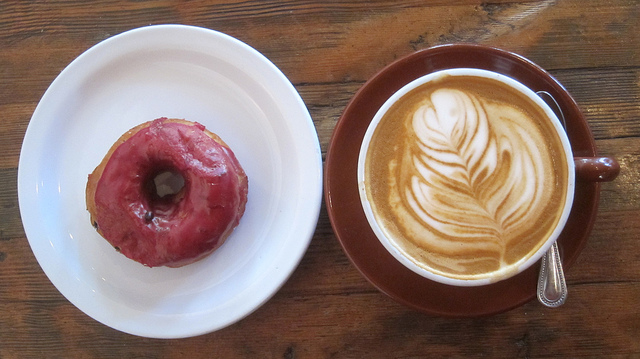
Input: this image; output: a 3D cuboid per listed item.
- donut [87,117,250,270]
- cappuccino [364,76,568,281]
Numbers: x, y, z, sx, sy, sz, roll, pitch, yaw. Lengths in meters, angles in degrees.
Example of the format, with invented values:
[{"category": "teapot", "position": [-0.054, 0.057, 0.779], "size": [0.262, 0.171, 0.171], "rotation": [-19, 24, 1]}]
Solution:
[{"category": "donut", "position": [-0.534, 0.053, 2.366], "size": [0.493, 0.144, 0.534], "rotation": [37, 88, 9]}, {"category": "cappuccino", "position": [0.543, -0.015, 2.560], "size": [0.629, 0.622, 0.718], "rotation": [3, 93, 8]}]
